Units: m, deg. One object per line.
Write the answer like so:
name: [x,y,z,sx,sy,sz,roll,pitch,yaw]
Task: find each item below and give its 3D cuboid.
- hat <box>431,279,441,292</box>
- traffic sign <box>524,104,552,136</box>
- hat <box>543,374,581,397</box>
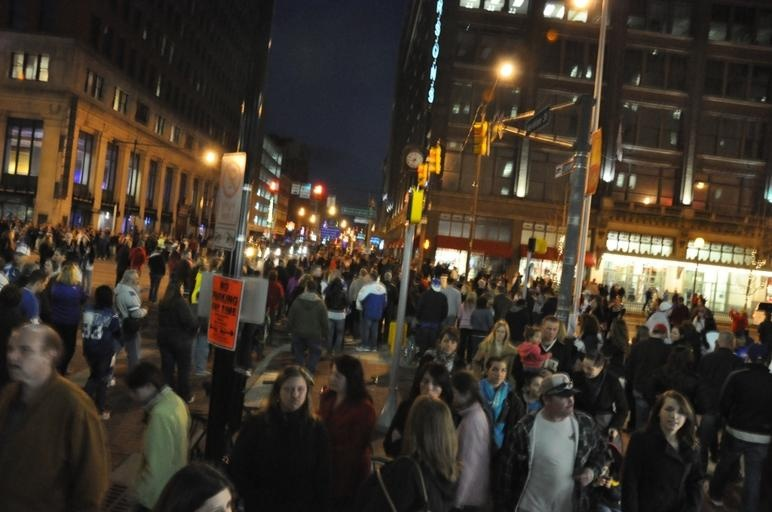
hat: [1.458,0.845,19.280,0.255,0.311,0.331,4,-16,0]
traffic sign: [4.397,-3.999,19.152,0.557,0.722,2.277,6,-4,7]
hat: [2.777,2.098,10.639,0.480,0.272,0.367,-11,-9,41]
